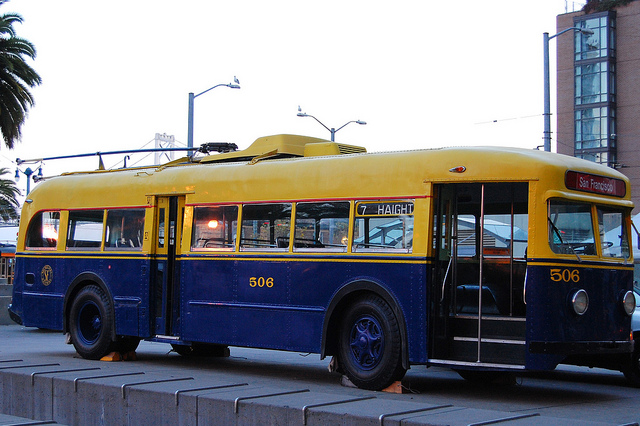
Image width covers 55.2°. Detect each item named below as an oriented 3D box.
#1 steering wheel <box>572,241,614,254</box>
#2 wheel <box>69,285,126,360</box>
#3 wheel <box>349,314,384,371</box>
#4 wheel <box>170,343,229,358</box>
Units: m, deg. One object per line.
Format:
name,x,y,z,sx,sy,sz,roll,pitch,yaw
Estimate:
steering wheel,4.565,0.558,10.155,0.554,0.115,0.317,-8,-2,-27
wheel,-4.885,2.457,13.671,1.347,1.380,0.488,24,16,39
wheel,0.788,2.196,10.387,0.153,0.950,0.849,7,-19,-42
wheel,-2.791,3.265,14.594,1.053,0.295,1.032,1,-5,0
